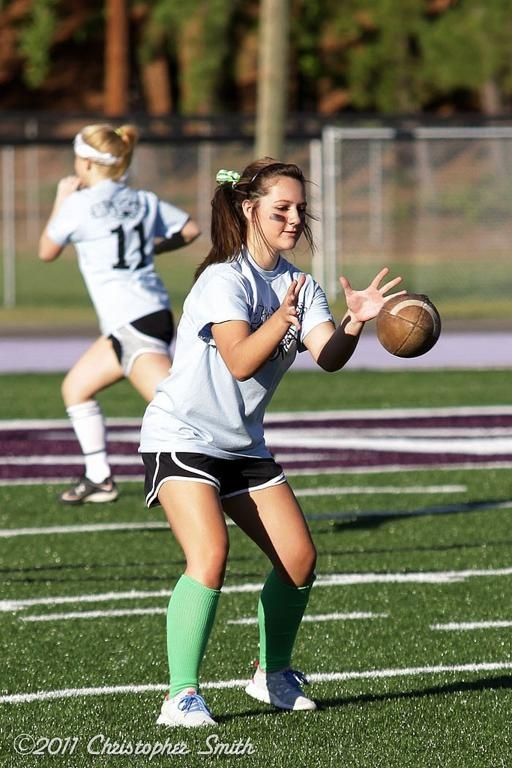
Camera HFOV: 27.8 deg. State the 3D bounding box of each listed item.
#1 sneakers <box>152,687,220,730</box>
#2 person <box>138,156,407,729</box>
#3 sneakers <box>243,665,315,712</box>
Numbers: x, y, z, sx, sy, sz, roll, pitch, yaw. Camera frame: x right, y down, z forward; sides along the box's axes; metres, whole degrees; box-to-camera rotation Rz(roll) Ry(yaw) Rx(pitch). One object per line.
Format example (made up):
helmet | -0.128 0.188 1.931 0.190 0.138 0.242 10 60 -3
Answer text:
sneakers | -0.174 0.819 2.618 0.165 0.067 0.077 -1 -3 38
person | -0.061 0.146 2.707 0.474 1.476 0.506 1 9 -6
sneakers | 0.068 0.842 2.867 0.204 0.087 0.076 11 -23 34
